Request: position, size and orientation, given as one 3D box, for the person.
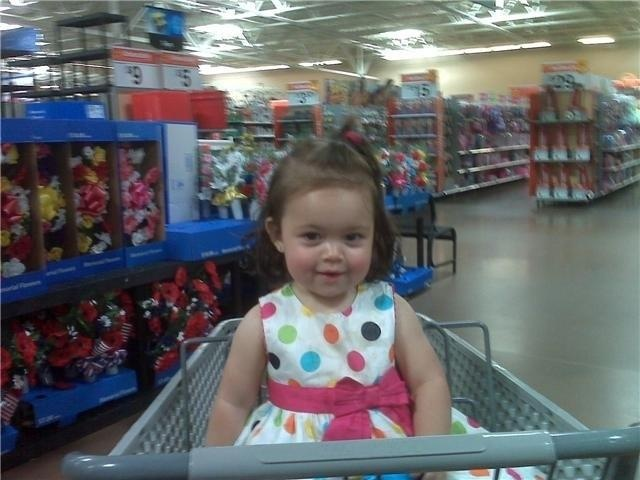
[{"bbox_3d":[0.211,0.113,1.269,0.858,0.947,0.663,-5,5,-19],"label":"person"}]
